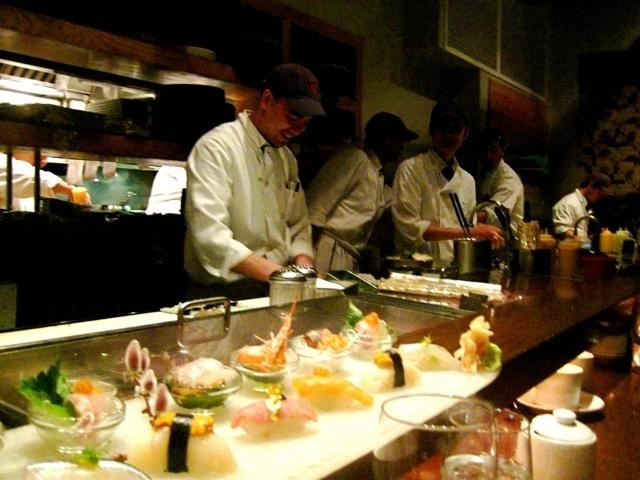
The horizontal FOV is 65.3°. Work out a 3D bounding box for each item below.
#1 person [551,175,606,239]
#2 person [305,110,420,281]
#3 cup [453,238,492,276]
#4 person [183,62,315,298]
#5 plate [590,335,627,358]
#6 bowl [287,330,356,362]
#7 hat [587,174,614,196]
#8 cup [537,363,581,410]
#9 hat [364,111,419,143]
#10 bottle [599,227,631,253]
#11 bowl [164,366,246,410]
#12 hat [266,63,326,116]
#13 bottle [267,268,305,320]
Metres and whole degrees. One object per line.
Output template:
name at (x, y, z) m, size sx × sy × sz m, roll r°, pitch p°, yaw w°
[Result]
person at (2.501, -0.309, 4.795) m, size 0.428 × 0.698 × 0.595 m, roll 3°, pitch 0°, yaw 12°
person at (0.204, -0.328, 3.143) m, size 0.357 × 0.948 × 0.720 m, roll 3°, pitch 1°, yaw 35°
cup at (0.807, 0.093, 2.646) m, size 0.195 × 0.206 × 0.202 m, roll 3°, pitch 0°, yaw 0°
person at (-0.310, -0.285, 2.500) m, size 0.699 × 1.039 × 0.599 m, roll 3°, pitch 1°, yaw -17°
plate at (1.275, 0.466, 2.226) m, size 0.141 × 0.093 × 0.132 m, roll 0°, pitch -2°, yaw 1°
bowl at (0.015, 0.306, 1.476) m, size 0.144 × 0.081 × 0.193 m, roll 3°, pitch 0°, yaw 29°
hat at (2.604, -0.523, 4.681) m, size 0.172 × 0.134 × 0.225 m, roll -4°, pitch 39°, yaw -47°
cup at (0.809, 0.514, 1.722) m, size 0.146 × 0.130 × 0.138 m, roll 3°, pitch -5°, yaw 0°
hat at (0.464, -0.737, 3.301) m, size 0.294 × 0.147 × 0.191 m, roll -8°, pitch 11°, yaw -10°
bottle at (2.668, 0.022, 4.445) m, size 0.332 × 0.292 × 0.182 m, roll 0°, pitch -1°, yaw 25°
bowl at (-0.294, 0.384, 1.208) m, size 0.156 × 0.052 × 0.148 m, roll 8°, pitch -15°, yaw 2°
hat at (-0.121, -0.721, 2.510) m, size 0.309 × 0.162 × 0.227 m, roll 35°, pitch 27°, yaw 19°
bottle at (-0.110, 0.166, 1.723) m, size 0.149 × 0.149 × 0.148 m, roll 9°, pitch 12°, yaw 33°
